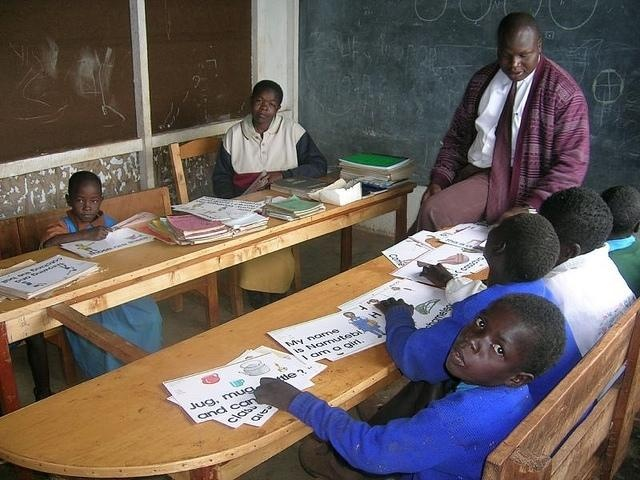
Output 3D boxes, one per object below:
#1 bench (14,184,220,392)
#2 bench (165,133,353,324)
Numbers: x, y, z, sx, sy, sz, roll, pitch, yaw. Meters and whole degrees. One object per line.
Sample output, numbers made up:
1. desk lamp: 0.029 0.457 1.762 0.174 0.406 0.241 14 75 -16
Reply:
1. bench: -0.882 0.211 2.244 0.377 0.812 0.959 17 26 39
2. bench: -0.362 -0.064 2.934 1.087 0.935 0.741 -19 31 -36
